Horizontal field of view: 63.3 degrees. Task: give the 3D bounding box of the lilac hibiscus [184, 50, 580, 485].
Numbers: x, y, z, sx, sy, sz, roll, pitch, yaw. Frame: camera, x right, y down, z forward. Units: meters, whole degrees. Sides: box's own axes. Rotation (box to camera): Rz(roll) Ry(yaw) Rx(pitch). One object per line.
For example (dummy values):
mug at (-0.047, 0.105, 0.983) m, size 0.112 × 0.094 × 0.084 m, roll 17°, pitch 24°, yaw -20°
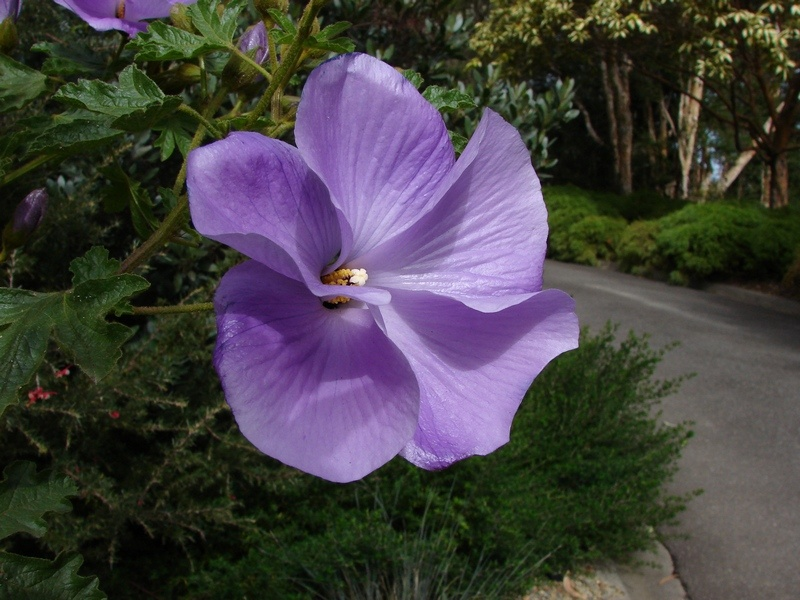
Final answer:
lilac hibiscus at (-0.098, -0.017, 1.044) m, size 0.260 × 0.564 × 0.576 m, roll 3°, pitch -25°, yaw 48°
